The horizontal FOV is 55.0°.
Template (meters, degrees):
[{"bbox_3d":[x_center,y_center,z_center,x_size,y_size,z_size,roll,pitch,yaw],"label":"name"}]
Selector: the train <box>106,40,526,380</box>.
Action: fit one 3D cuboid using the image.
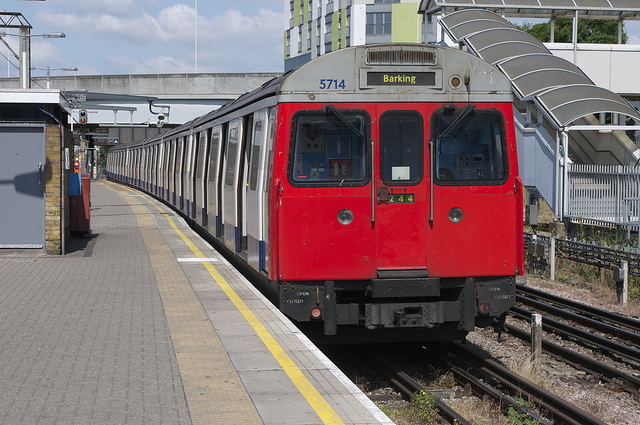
[{"bbox_3d":[-1.712,-0.568,17.572,2.926,4.482,18.420,-1,3,-20],"label":"train"}]
